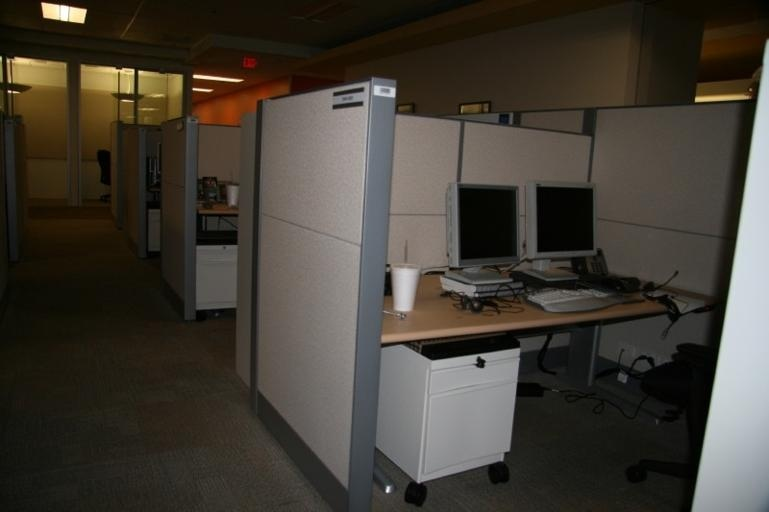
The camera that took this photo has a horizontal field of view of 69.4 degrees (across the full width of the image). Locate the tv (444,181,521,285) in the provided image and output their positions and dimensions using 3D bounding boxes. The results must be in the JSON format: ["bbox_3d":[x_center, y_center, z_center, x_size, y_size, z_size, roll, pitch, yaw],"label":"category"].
[{"bbox_3d":[0.586,-0.143,3.622,0.547,0.597,0.318,-2,-2,-32],"label":"tv"}]

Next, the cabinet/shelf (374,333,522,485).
[{"bbox_3d":[0.261,0.685,3.396,0.546,0.561,0.602,-15,32,-40],"label":"cabinet/shelf"}]

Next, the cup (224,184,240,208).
[{"bbox_3d":[-1.596,-0.640,5.803,0.109,0.212,0.264,-1,13,-22],"label":"cup"}]

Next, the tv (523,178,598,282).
[{"bbox_3d":[1.184,-0.168,3.729,0.689,0.691,0.237,-2,1,-30],"label":"tv"}]

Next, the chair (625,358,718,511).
[{"bbox_3d":[1.713,1.007,3.336,0.371,0.853,0.600,11,13,28],"label":"chair"}]

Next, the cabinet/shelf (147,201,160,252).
[{"bbox_3d":[-3.015,-0.311,7.240,0.153,0.572,0.173,-3,14,-30],"label":"cabinet/shelf"}]

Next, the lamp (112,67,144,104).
[{"bbox_3d":[-5.240,-3.466,11.337,0.535,0.661,0.161,-3,14,-31],"label":"lamp"}]

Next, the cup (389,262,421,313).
[{"bbox_3d":[0.110,0.181,3.177,0.163,0.266,0.197,4,12,0],"label":"cup"}]

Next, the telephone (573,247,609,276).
[{"bbox_3d":[1.443,0.063,3.913,0.199,0.217,0.064,-6,9,-3],"label":"telephone"}]

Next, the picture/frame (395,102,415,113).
[{"bbox_3d":[0.343,-2.493,9.270,0.188,0.153,0.497,-1,13,-23],"label":"picture/frame"}]
